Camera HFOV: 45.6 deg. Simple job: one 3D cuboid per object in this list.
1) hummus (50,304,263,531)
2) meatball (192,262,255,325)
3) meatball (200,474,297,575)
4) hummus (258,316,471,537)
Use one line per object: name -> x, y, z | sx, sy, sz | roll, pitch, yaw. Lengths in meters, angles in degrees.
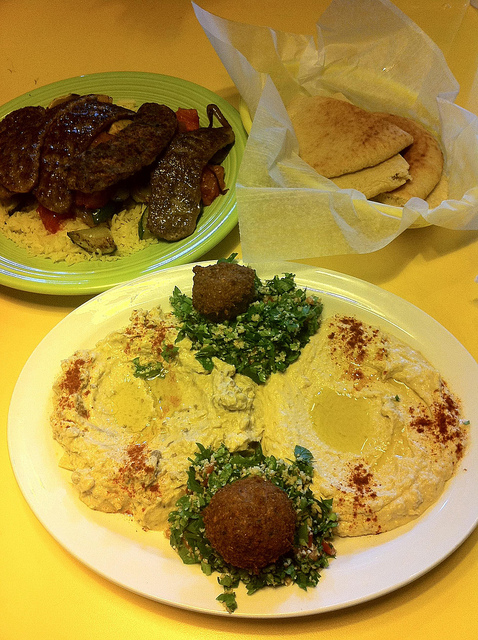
hummus -> -0.246, 0.214, 1.404 | 0.516, 0.148, 0.487 | 38, 61, 21
meatball -> -0.040, -0.075, 1.472 | 0.162, 0.135, 0.091 | 3, 24, 19
meatball -> 0.028, 0.410, 1.194 | 0.183, 0.117, 0.182 | 16, 55, 14
hummus -> 0.294, 0.236, 1.418 | 0.471, 0.113, 0.536 | -30, 62, -22
